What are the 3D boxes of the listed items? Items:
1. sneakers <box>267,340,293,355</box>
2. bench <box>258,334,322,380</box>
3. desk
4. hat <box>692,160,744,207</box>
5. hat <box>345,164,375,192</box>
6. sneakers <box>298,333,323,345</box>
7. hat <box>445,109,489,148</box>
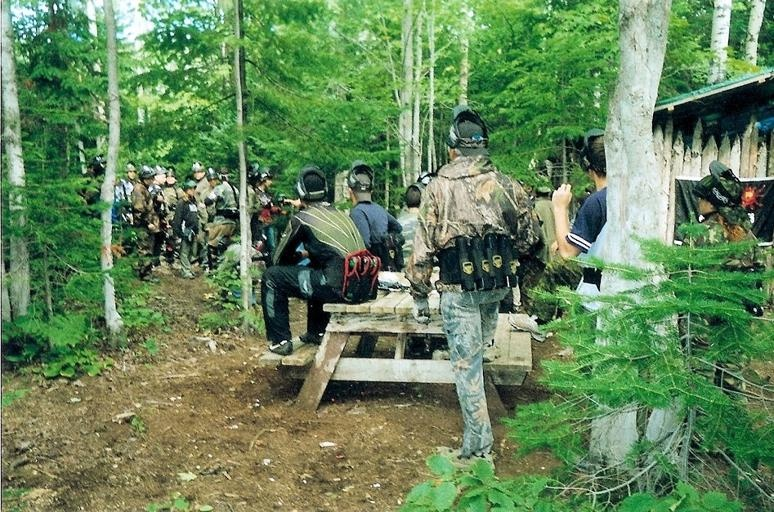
[{"bbox_3d":[-1.386,1.177,9.443,0.262,0.185,0.160,8,-3,6],"label":"sneakers"},{"bbox_3d":[-1.256,1.374,9.446,0.492,0.183,0.796,14,17,16],"label":"bench"},{"bbox_3d":[0.247,1.360,9.715,2.007,1.264,2.067,-4,-10,30],"label":"desk"},{"bbox_3d":[3.539,-0.775,7.901,0.399,0.473,0.530,-20,12,-25],"label":"hat"},{"bbox_3d":[-0.390,-1.215,10.680,0.338,0.259,0.434,10,45,-20],"label":"hat"},{"bbox_3d":[-1.027,1.118,9.890,0.380,0.180,0.141,5,1,-1],"label":"sneakers"},{"bbox_3d":[0.895,-1.397,8.294,0.376,0.508,0.263,-1,-2,-5],"label":"hat"}]
